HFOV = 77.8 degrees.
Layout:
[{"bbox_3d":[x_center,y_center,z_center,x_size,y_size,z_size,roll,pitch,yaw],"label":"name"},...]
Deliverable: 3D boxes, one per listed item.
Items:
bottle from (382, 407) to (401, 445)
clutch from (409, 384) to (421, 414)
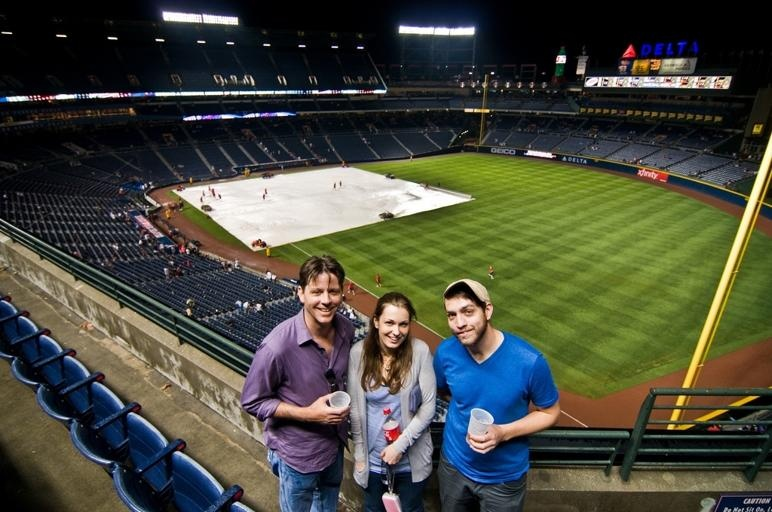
[{"bbox_3d":[0.088,2.898,8.068,0.313,0.551,0.369,-11,27,2],"label":"bottle"},{"bbox_3d":[0.511,2.442,8.086,0.152,0.466,0.301,11,34,36],"label":"clutch"}]
